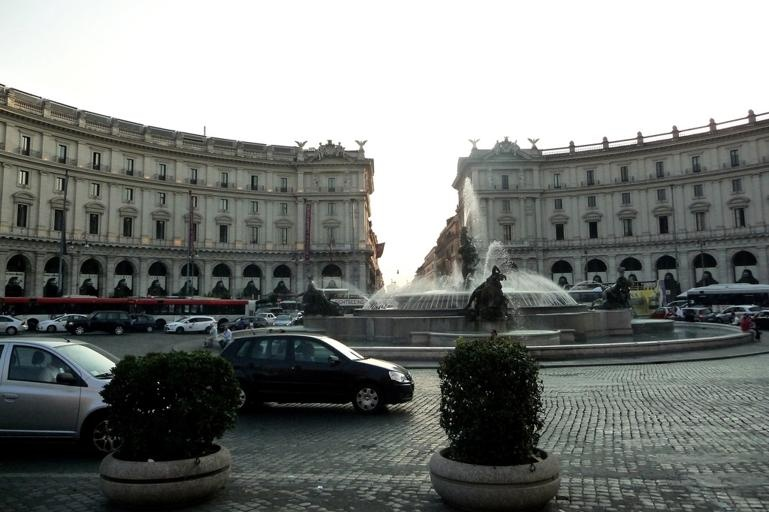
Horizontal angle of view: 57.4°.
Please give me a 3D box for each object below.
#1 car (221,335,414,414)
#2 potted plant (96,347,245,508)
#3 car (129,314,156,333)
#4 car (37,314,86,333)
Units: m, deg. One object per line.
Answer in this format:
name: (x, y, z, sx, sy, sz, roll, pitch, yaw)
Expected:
car: (-1.673, 3.013, 18.332, 4.571, 1.505, 2.039, -2, -5, 2)
potted plant: (-3.965, 3.170, 13.013, 2.379, 2.767, 0.816, -2, 7, -14)
car: (-15.710, 4.409, 45.985, 1.681, 0.638, 0.885, 3, -6, -6)
car: (-20.261, 4.212, 43.522, 3.175, 0.896, 1.469, 3, -5, -12)
